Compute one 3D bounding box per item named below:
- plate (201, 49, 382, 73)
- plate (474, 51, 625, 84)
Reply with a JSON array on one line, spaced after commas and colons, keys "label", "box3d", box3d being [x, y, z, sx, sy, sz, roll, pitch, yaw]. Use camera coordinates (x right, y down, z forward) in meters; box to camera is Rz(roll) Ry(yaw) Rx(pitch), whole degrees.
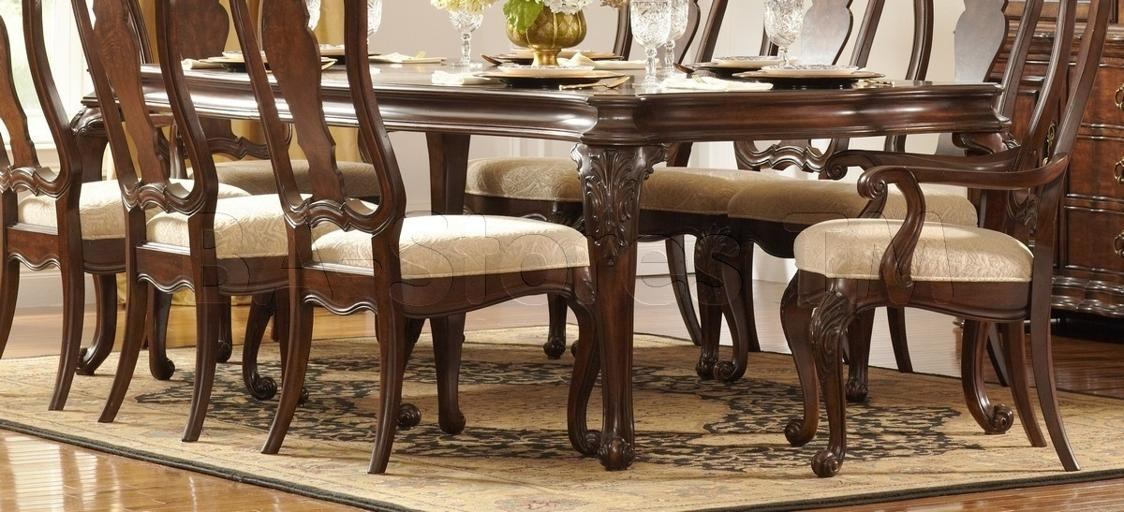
[{"label": "plate", "box3d": [-1.198, -0.858, 3.896, 0.515, 0.032, 0.437, -4, 6, -40]}, {"label": "plate", "box3d": [-0.108, -0.799, 3.822, 0.409, 0.069, 0.419, 3, 8, 36]}]
